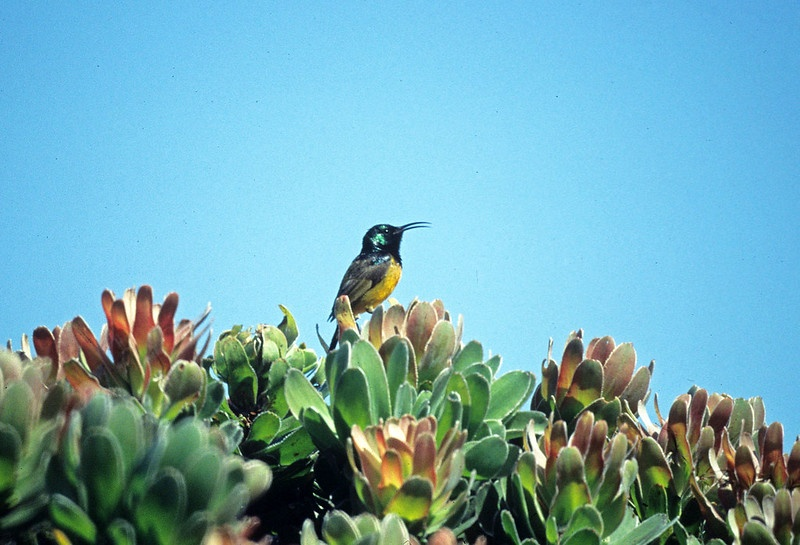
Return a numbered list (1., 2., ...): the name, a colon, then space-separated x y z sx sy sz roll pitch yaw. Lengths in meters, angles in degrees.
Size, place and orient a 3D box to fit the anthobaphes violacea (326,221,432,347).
1. anthobaphes violacea: -0.184 0.090 7.837 0.727 0.797 0.348 -4 -9 1
